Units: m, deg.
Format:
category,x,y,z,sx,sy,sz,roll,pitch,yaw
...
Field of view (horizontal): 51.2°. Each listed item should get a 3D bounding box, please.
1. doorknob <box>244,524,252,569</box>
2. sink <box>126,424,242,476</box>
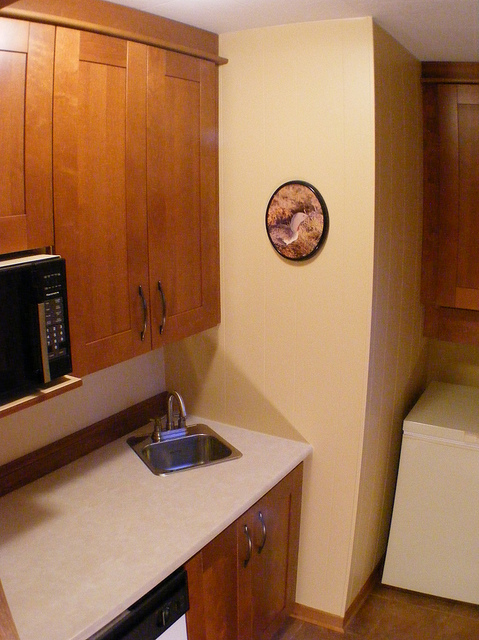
category,x,y,z,sx,sy,sz,roll,pitch,yaw
doorknob,0.021,0.723,1.594,0.027,0.168,0.027,-2,9,-20
sink,-0.216,0.501,1.913,0.233,0.119,0.220,-8,15,-25
